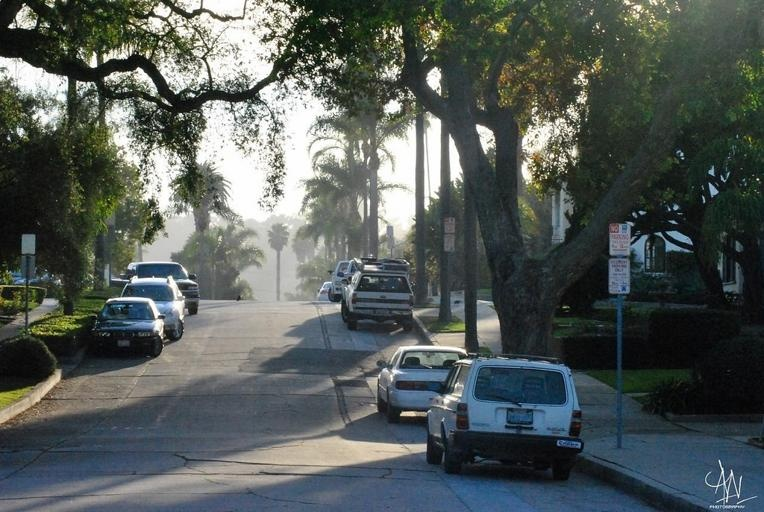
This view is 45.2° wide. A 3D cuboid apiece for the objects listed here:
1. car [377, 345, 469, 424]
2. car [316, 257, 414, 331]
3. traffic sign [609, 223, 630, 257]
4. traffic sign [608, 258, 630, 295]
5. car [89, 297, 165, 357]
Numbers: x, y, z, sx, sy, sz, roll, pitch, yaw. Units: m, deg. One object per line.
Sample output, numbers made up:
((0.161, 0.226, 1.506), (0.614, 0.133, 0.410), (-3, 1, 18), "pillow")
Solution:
((0.836, 3.496, 24.708), (1.569, 1.082, 2.709), (-1, 2, -9), "car")
((-0.187, 1.616, 39.054), (2.898, 3.069, 3.118), (1, -3, 3), "car")
((5.684, -0.369, 22.048), (0.451, 0.780, 0.808), (1, -4, 12), "traffic sign")
((5.615, 0.491, 21.798), (0.457, 0.890, 0.749), (1, -3, 12), "traffic sign")
((-8.869, 2.530, 32.148), (2.260, 2.010, 1.105), (1, -3, 1), "car")
